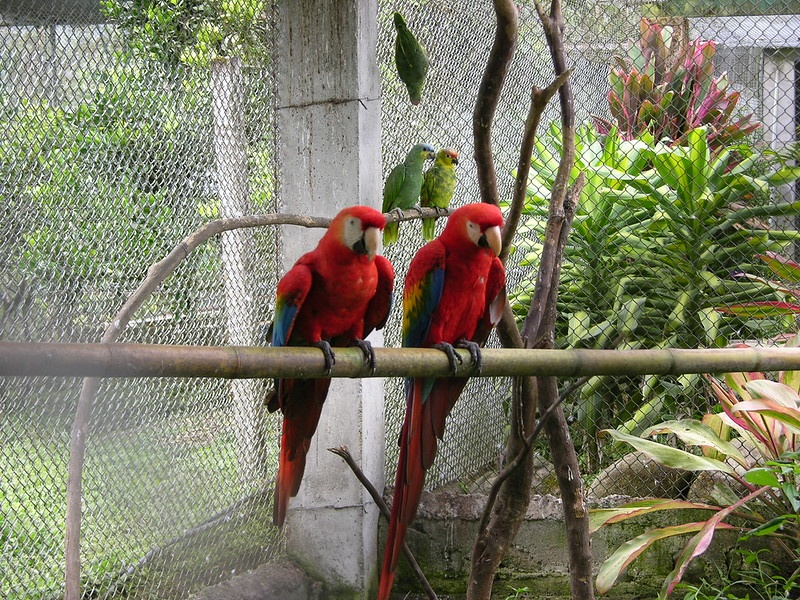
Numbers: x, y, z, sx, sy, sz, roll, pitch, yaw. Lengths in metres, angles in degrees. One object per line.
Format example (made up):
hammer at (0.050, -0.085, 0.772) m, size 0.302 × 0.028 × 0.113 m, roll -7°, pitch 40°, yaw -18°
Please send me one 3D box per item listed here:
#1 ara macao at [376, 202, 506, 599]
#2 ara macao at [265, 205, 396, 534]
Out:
ara macao at (0.167, 0.249, 3.369) m, size 0.366 × 1.146 × 0.755 m, roll 2°, pitch 9°, yaw 3°
ara macao at (-0.225, 0.215, 3.349) m, size 0.452 × 1.043 × 0.722 m, roll 0°, pitch 9°, yaw -8°
